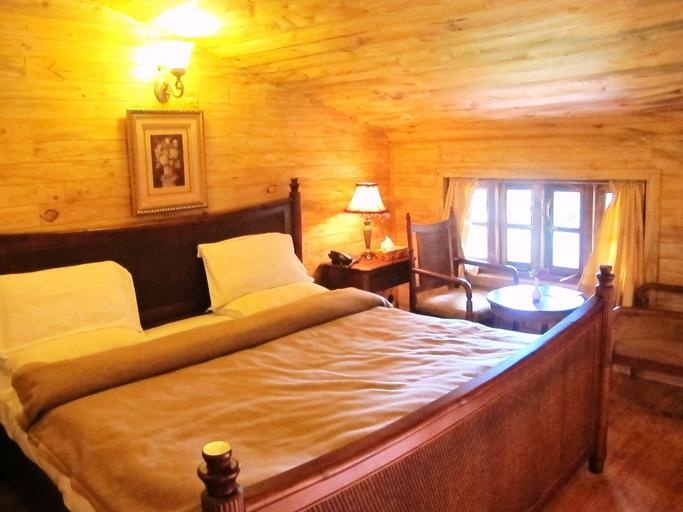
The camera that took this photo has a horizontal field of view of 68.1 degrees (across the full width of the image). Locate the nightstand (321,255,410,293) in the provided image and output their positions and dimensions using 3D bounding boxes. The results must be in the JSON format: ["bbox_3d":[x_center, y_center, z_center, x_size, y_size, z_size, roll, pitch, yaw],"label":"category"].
[{"bbox_3d":[0.255,0.021,4.868,0.444,0.504,0.609,11,16,36],"label":"nightstand"}]

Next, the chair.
[{"bbox_3d":[1.121,0.075,4.571,0.801,1.168,0.831,11,23,42],"label":"chair"}]

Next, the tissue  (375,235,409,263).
[{"bbox_3d":[0.461,-0.085,5.004,0.299,0.162,0.278,-6,9,-24],"label":"tissue "}]

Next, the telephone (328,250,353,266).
[{"bbox_3d":[-0.027,0.028,4.801,0.214,0.112,0.088,22,17,41],"label":"telephone"}]

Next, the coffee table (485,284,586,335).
[{"bbox_3d":[1.465,0.508,3.861,0.560,0.399,0.596,5,18,34],"label":"coffee table"}]
